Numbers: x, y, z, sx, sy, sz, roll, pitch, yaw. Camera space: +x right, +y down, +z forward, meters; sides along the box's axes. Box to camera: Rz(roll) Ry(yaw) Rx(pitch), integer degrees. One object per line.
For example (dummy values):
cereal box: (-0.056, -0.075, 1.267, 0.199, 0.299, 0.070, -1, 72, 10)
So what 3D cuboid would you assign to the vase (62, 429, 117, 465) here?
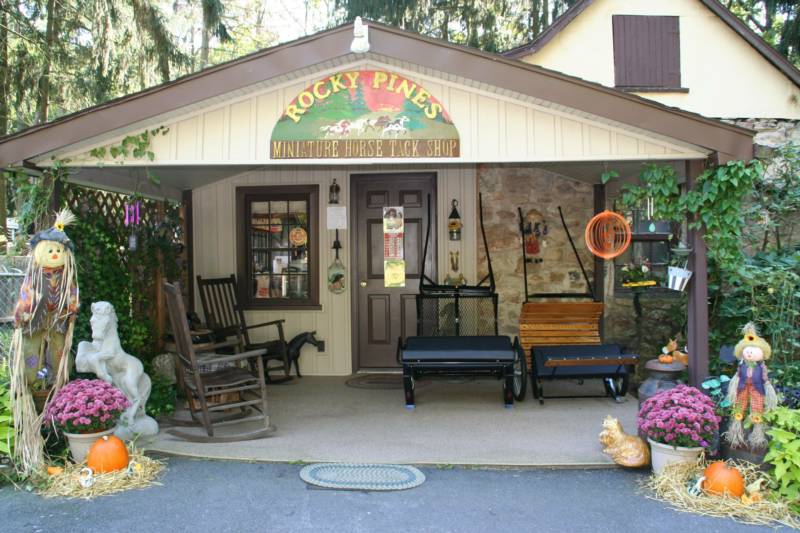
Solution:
vase: (-3.103, 1.761, 7.360, 0.358, 0.259, 0.362, -1, -12, 8)

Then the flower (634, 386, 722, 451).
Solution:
flower: (2.669, 1.419, 7.204, 0.586, 0.539, 0.639, 1, 6, -6)

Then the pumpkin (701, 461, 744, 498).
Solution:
pumpkin: (2.954, 1.965, 6.821, 0.300, 0.312, 0.309, 10, 1, 28)

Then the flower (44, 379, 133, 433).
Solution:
flower: (-3.092, 1.352, 7.325, 0.581, 0.368, 0.564, 8, 7, 6)

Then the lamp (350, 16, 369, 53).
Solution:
lamp: (-0.411, -2.339, 7.542, 0.209, 0.347, 0.208, -8, 13, -36)

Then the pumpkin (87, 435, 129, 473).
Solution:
pumpkin: (-2.882, 1.832, 7.323, 0.352, 0.371, 0.365, 2, 18, 5)

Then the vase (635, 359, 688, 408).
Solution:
vase: (2.691, 1.200, 7.676, 0.462, 0.509, 0.470, 1, 1, 17)

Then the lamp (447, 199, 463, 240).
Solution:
lamp: (0.797, -0.672, 10.808, 0.206, 0.593, 0.153, 0, 10, 3)

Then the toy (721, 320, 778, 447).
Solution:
toy: (3.330, 1.135, 7.024, 0.428, 1.117, 0.420, 5, 12, 28)

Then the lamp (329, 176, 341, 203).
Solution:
lamp: (-0.960, -1.098, 10.812, 0.122, 0.357, 0.147, 9, 14, 42)
